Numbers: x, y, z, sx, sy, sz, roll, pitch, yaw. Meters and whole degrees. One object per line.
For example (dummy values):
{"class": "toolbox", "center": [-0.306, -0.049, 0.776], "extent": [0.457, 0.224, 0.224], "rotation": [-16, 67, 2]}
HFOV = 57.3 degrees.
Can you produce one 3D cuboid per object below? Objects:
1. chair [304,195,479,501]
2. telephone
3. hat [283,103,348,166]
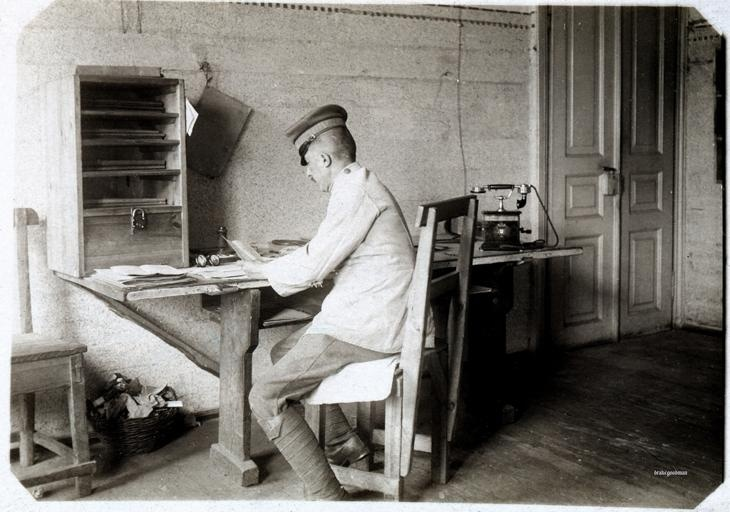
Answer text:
{"class": "chair", "center": [0.217, 0.547, 3.761], "extent": [0.479, 1.762, 0.914], "rotation": [11, 17, 36]}
{"class": "telephone", "center": [1.008, -0.297, 5.031], "extent": [0.454, 0.503, 0.359], "rotation": [0, 1, 17]}
{"class": "hat", "center": [-0.281, -0.717, 3.825], "extent": [0.323, 0.147, 0.296], "rotation": [-41, -11, 16]}
